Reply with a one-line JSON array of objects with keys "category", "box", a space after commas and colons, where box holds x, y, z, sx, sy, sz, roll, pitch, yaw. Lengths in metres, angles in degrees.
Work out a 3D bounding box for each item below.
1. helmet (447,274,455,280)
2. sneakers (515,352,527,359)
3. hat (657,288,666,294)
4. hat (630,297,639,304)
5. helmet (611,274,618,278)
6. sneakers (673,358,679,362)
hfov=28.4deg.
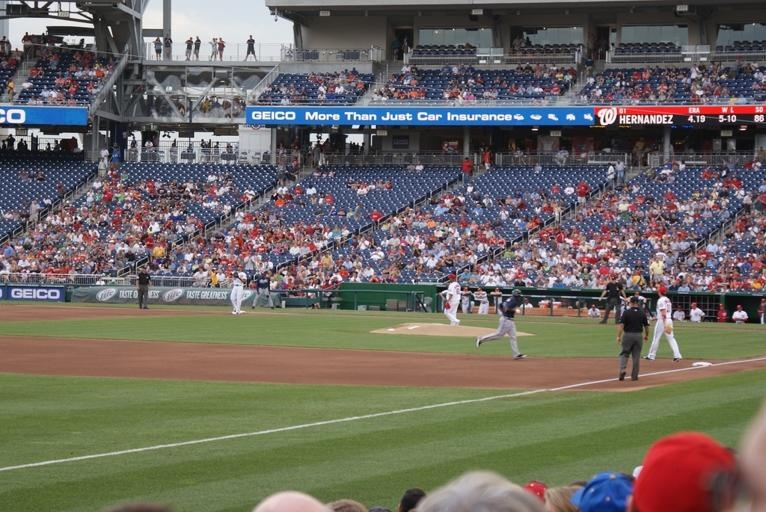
[{"category": "helmet", "box": [3.513, 1.015, 77.062, 0.293, 0.289, 0.252, 1, 16, 20]}, {"category": "sneakers", "box": [5.437, 4.003, 60.343, 0.591, 0.270, 0.200, -11, -5, 35]}, {"category": "hat", "box": [11.127, 1.366, 60.265, 0.317, 0.233, 0.441, -9, 14, 4]}, {"category": "hat", "box": [9.537, 1.699, 57.343, 0.234, 0.300, 0.301, 3, -37, 6]}, {"category": "helmet", "box": [11.229, 0.958, 73.390, 0.244, 0.140, 0.247, 2, -2, -5]}, {"category": "sneakers", "box": [11.663, 4.118, 59.985, 0.265, 0.141, 0.477, 2, 1, 8]}]
